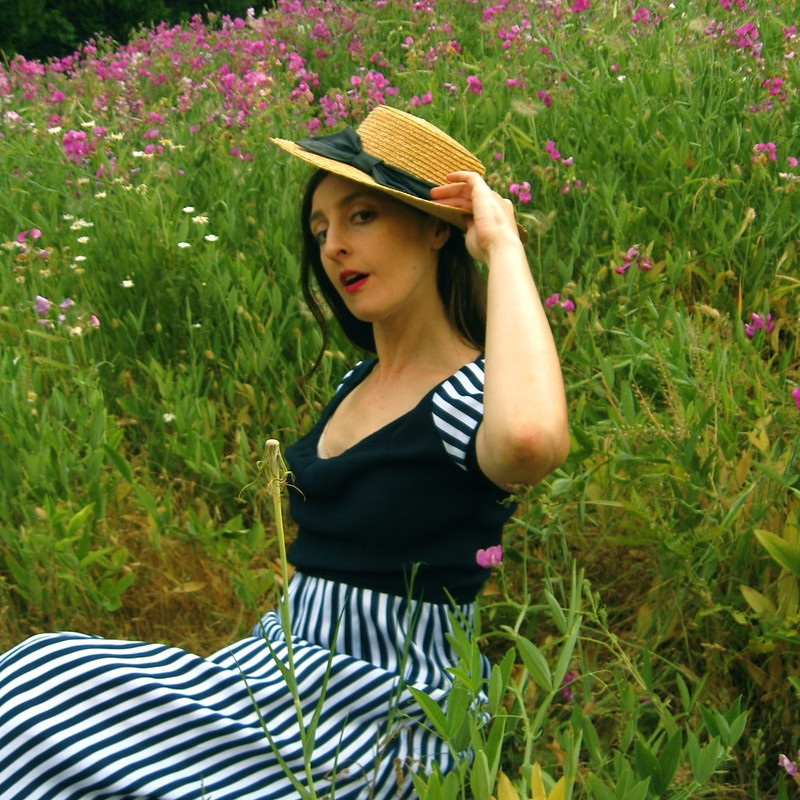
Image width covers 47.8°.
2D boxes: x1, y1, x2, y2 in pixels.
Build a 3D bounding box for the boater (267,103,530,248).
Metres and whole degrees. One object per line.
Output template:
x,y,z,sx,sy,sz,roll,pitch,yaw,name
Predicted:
0.067,-0.570,2.269,0.664,0.217,0.714,27,12,12,boater
